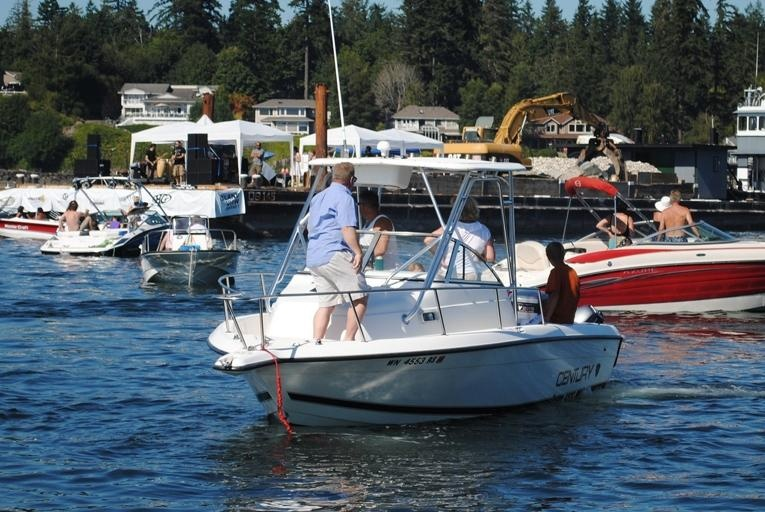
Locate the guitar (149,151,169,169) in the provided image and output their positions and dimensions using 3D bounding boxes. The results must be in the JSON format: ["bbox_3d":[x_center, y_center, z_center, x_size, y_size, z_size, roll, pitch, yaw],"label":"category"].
[{"bbox_3d":[-12.657,-5.357,87.507,0.921,0.726,1.380,-3,4,-28],"label":"guitar"}]

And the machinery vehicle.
[{"bbox_3d":[8.913,-6.586,89.033,11.533,5.386,3.024,-1,-1,-31],"label":"machinery vehicle"}]
